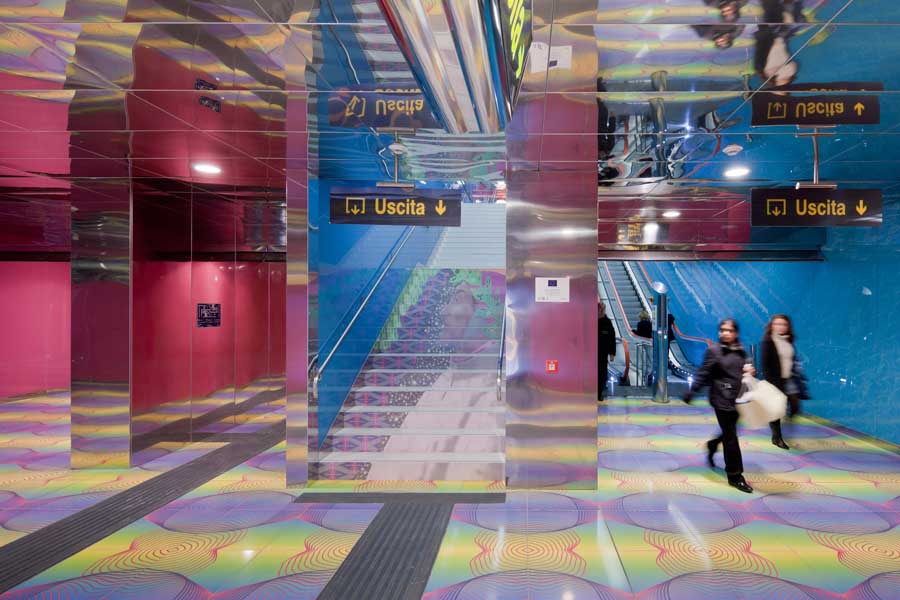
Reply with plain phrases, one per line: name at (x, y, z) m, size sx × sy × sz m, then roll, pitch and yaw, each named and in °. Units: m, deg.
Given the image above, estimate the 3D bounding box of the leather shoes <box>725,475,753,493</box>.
leather shoes at (3.549, 2.220, 7.584) m, size 0.295 × 0.167 × 0.213 m, roll 3°, pitch 4°, yaw 18°

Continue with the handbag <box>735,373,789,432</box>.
handbag at (3.845, 1.273, 7.687) m, size 0.622 × 0.637 × 0.352 m, roll 2°, pitch 5°, yaw 10°

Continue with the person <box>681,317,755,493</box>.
person at (3.384, 1.267, 7.666) m, size 0.780 × 2.052 × 0.394 m, roll 4°, pitch 5°, yaw 18°
